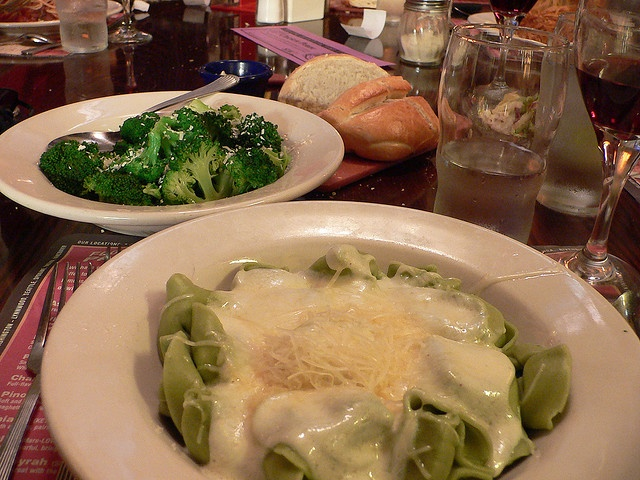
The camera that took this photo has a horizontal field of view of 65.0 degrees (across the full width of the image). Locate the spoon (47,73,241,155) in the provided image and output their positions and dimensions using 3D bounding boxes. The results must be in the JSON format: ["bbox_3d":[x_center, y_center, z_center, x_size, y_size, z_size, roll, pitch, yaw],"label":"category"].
[{"bbox_3d":[-0.531,-0.378,1.515,0.564,0.082,0.112,-41,46,-17],"label":"spoon"}]

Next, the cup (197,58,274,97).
[{"bbox_3d":[-0.365,-0.631,1.985,0.251,0.140,0.259,0,10,0],"label":"cup"}]
